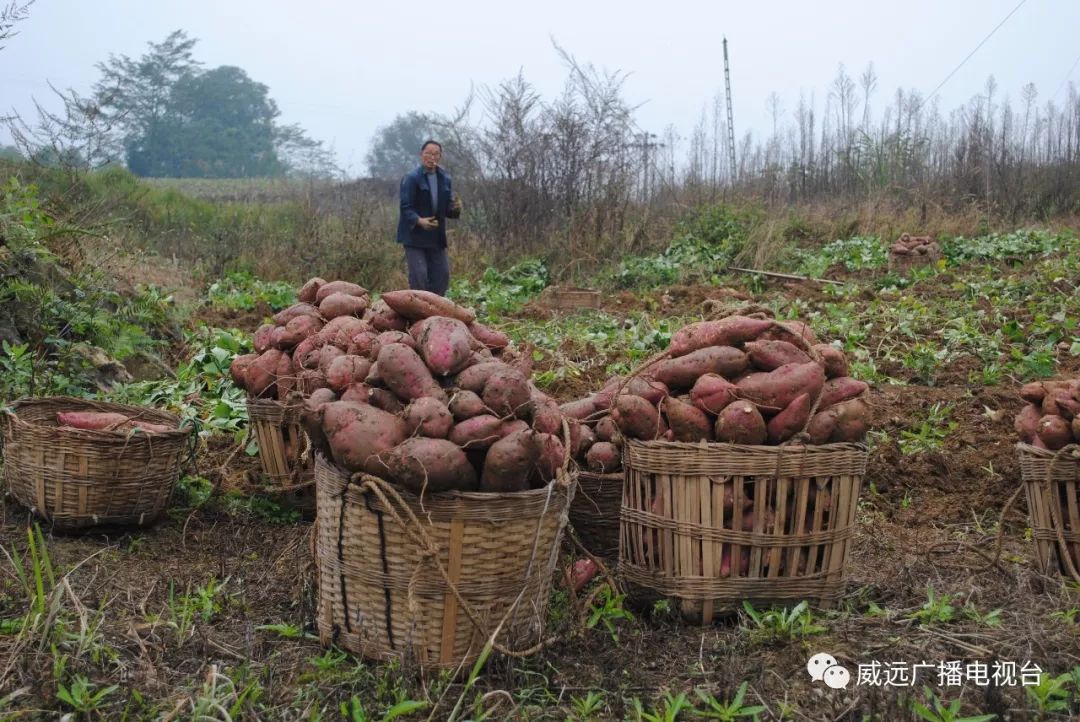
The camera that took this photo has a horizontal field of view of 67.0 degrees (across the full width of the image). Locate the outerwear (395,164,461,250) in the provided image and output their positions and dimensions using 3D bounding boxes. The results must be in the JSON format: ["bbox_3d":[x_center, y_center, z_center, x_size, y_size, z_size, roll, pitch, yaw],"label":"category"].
[{"bbox_3d":[-1.371,-1.927,10.180,0.740,1.002,0.500,-4,10,-24],"label":"outerwear"}]

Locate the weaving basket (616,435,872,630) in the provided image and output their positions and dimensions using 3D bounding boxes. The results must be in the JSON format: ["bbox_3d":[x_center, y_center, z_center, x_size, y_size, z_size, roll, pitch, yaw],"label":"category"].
[{"bbox_3d":[1.337,0.931,5.181,1.179,0.906,1.247,0,-4,26],"label":"weaving basket"}]

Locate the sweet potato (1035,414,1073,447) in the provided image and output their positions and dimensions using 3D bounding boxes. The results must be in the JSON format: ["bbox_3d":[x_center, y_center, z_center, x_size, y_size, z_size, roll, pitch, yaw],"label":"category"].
[{"bbox_3d":[3.293,0.446,5.275,0.211,0.160,0.166,25,-13,-25],"label":"sweet potato"}]

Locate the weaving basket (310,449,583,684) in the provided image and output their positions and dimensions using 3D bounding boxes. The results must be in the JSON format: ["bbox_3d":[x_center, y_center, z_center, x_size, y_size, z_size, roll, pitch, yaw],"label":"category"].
[{"bbox_3d":[-0.622,1.262,5.162,1.321,1.015,1.474,9,-15,-19],"label":"weaving basket"}]

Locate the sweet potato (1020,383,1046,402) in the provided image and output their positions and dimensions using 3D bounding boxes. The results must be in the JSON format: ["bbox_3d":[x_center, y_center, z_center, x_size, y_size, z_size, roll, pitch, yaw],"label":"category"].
[{"bbox_3d":[3.354,0.202,5.577,0.152,0.122,0.116,11,39,-49],"label":"sweet potato"}]

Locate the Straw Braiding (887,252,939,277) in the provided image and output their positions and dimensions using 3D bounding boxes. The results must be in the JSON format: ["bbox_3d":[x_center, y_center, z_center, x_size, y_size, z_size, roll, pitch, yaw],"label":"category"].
[{"bbox_3d":[5.727,-1.480,12.504,0.582,0.261,0.576,-2,9,-23],"label":"Straw Braiding"}]
